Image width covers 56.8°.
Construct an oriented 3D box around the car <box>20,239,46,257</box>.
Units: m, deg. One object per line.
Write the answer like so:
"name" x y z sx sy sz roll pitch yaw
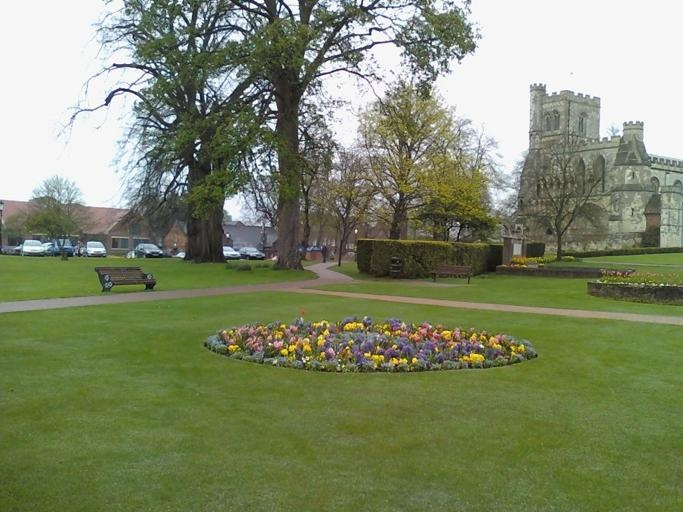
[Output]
"car" -28.981 -0.738 58.792 1.427 1.140 3.205 0 0 -34
